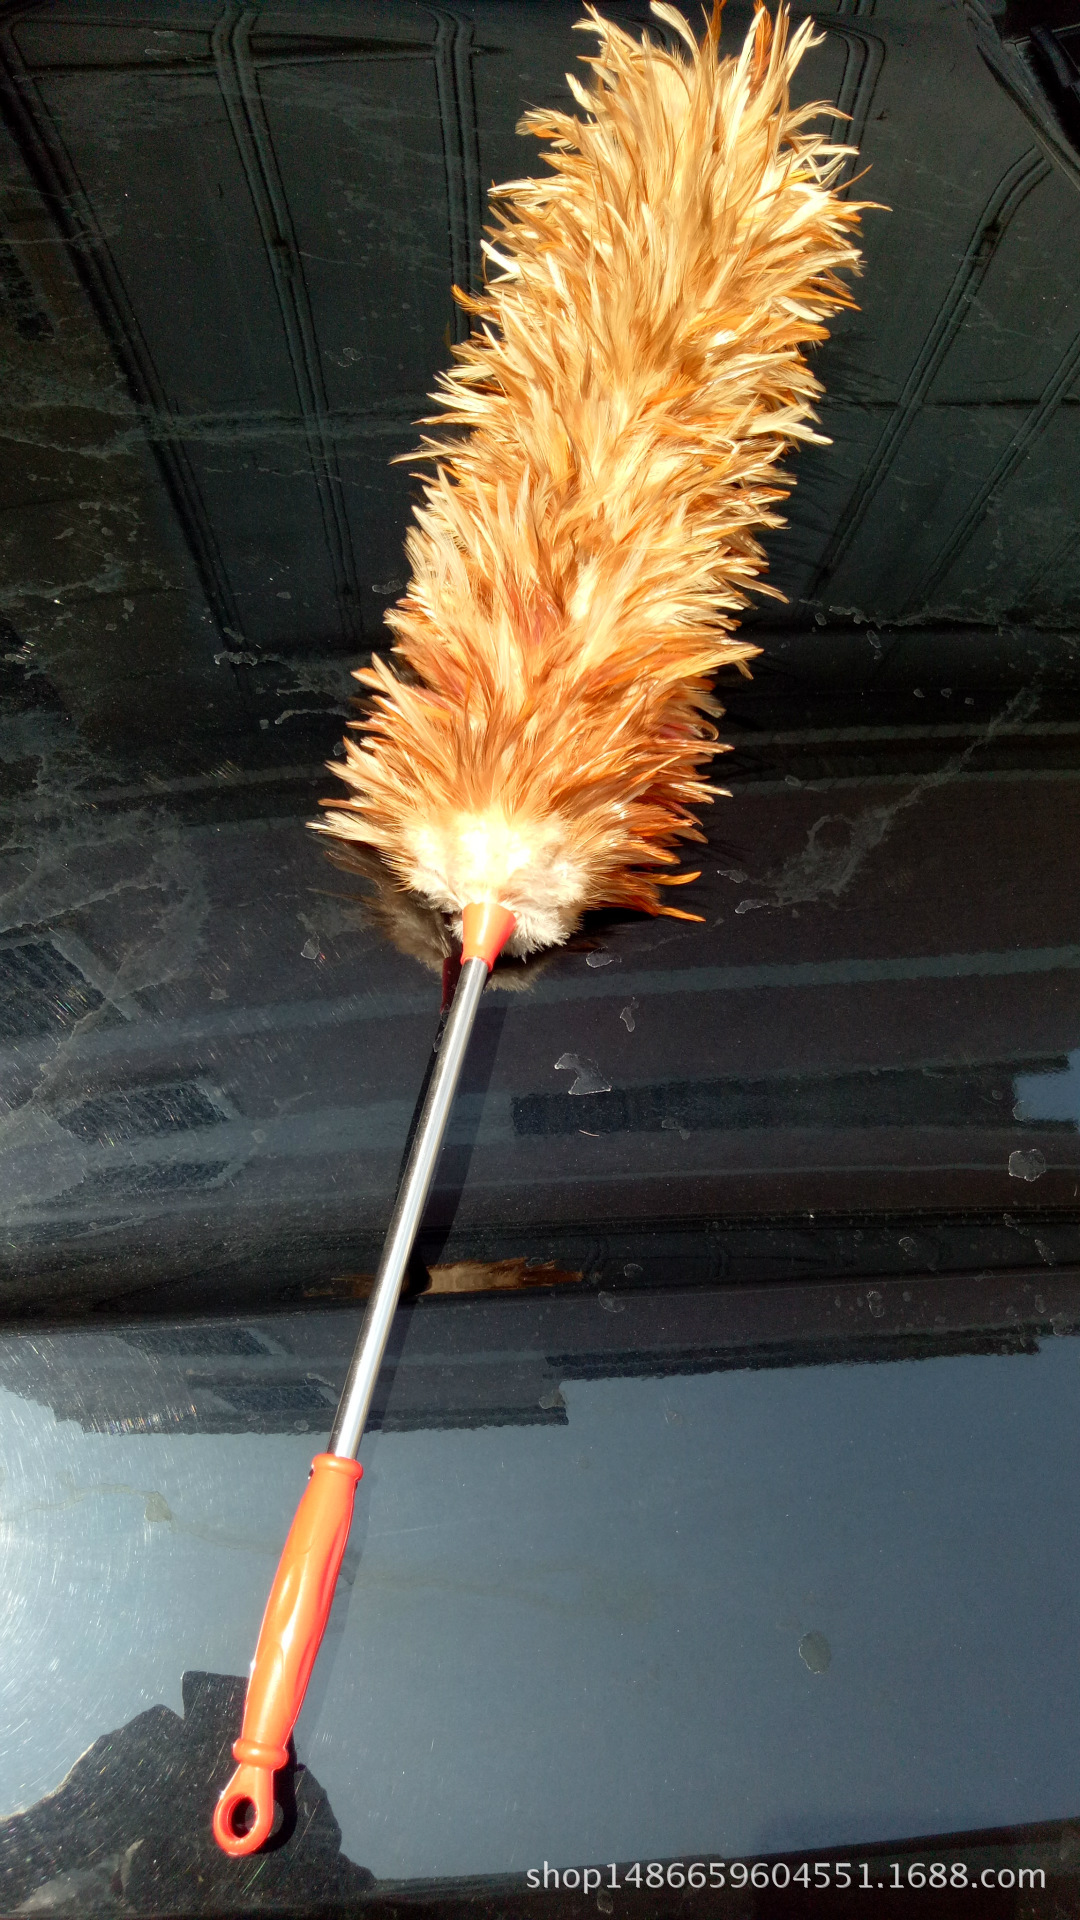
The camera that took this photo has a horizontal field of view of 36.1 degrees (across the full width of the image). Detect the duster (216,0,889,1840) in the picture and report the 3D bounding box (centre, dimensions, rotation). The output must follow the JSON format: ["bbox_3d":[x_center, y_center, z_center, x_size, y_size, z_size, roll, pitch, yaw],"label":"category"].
[{"bbox_3d":[0.040,-0.160,1.310,0.369,0.394,1.464,13,79,-16],"label":"duster"}]
